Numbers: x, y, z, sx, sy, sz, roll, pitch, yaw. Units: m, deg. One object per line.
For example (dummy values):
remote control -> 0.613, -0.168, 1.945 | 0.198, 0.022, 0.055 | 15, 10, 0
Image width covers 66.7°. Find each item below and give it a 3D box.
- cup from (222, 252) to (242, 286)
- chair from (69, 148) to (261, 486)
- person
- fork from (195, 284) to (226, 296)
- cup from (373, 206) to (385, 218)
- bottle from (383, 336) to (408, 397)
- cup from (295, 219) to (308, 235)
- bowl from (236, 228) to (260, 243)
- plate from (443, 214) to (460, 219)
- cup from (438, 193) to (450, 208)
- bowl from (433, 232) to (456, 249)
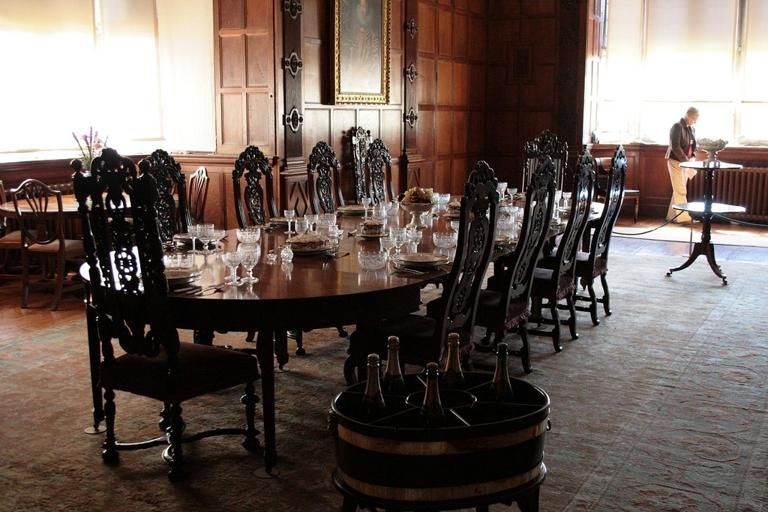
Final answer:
cup -> -0.840, 0.074, 3.233 | 0.116, 0.184, 0.117 | 4, 20, -2
chair -> -1.204, 0.302, 3.142 | 0.817, 1.748, 0.529 | 6, 15, 34
person -> 5.262, -1.576, 10.324 | 0.462, 2.040, 0.892 | 4, 14, 27
fork -> -0.897, 0.180, 3.042 | 0.042, 0.037, 0.245 | 5, 11, 10
cup -> -0.044, -0.367, 4.906 | 0.101, 0.097, 0.103 | 0, 4, 0
bottle -> 0.053, 0.472, 2.539 | 0.115, 0.425, 0.110 | -2, 55, 4
cup -> -0.584, -0.204, 4.158 | 0.103, 0.116, 0.103 | -1, 8, 0
bowl -> -0.867, -0.131, 3.860 | 0.132, 0.072, 0.150 | 0, 1, 12
plate -> 0.594, -0.342, 5.107 | 0.123, 0.029, 0.125 | 0, 8, 10
cup -> 0.615, -0.550, 5.757 | 0.126, 0.137, 0.135 | -1, 3, 0
bowl -> 0.427, -0.106, 4.037 | 0.135, 0.073, 0.116 | 0, 6, -3
